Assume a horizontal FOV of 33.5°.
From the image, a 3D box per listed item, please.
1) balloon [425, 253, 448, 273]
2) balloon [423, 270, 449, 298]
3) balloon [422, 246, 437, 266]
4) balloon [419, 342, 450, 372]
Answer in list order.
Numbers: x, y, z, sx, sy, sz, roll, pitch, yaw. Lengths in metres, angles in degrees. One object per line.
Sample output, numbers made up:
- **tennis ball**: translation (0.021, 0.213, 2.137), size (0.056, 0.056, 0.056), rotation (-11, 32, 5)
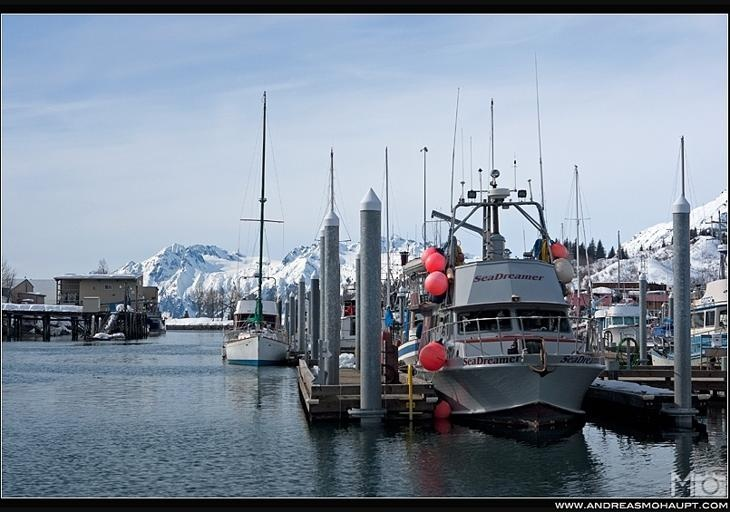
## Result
- **balloon**: translation (2.446, 0.256, 41.953), size (0.687, 0.759, 0.672), rotation (4, 17, 10)
- **balloon**: translation (2.443, 1.003, 41.577), size (0.834, 0.926, 0.798), rotation (5, 39, -1)
- **balloon**: translation (2.234, -0.111, 42.301), size (0.571, 0.625, 0.556), rotation (1, -8, -1)
- **balloon**: translation (2.213, 3.255, 39.783), size (1.052, 0.882, 0.921), rotation (-6, -21, 35)
